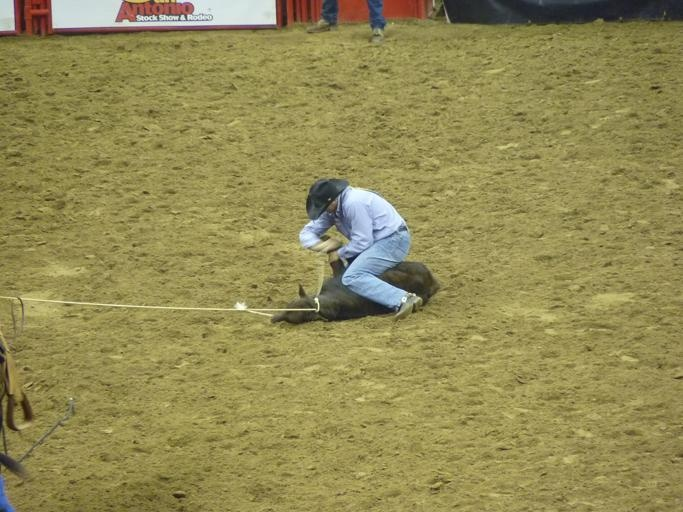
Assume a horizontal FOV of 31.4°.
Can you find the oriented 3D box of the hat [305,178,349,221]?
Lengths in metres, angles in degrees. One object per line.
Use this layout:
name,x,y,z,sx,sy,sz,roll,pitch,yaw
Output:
hat,-0.186,-0.697,15.103,0.342,0.523,0.392,9,15,32
